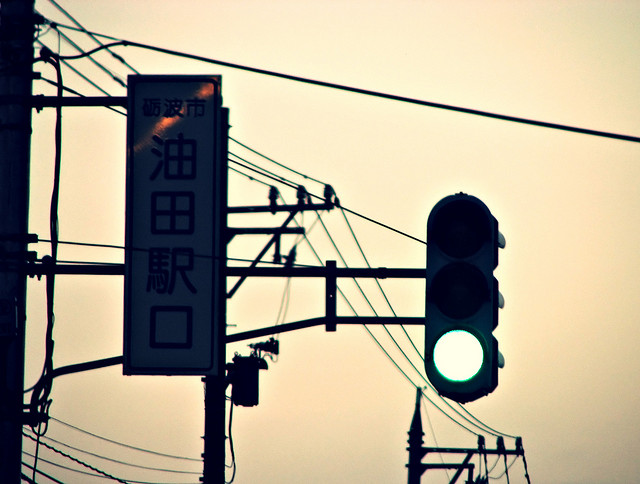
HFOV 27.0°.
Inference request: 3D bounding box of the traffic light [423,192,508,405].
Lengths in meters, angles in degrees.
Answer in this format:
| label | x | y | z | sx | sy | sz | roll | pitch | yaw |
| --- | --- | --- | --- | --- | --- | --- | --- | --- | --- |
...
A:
| label | x | y | z | sx | sy | sz | roll | pitch | yaw |
| --- | --- | --- | --- | --- | --- | --- | --- | --- | --- |
| traffic light | 1.585 | 0.621 | 14.590 | 0.964 | 1.947 | 1.149 | -4 | -33 | 3 |
